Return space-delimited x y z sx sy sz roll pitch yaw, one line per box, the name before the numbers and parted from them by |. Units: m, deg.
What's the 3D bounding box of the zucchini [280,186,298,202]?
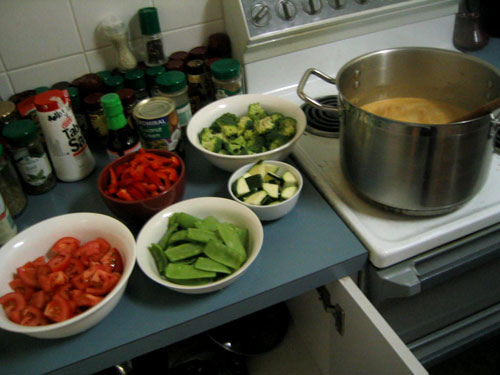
zucchini | 0.097 0.018 1.010 0.036 0.011 0.040 19 64 23

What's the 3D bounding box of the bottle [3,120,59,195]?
bottle | -0.597 -0.070 1.090 0.089 0.210 0.079 -28 37 -27

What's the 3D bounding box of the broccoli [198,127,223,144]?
broccoli | -0.111 -0.150 1.143 0.050 0.016 0.055 -6 50 -8

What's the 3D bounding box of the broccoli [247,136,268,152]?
broccoli | 0.019 -0.122 1.164 0.044 0.014 0.053 -1 56 5

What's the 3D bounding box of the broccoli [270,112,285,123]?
broccoli | 0.080 -0.206 1.167 0.035 0.021 0.027 -15 28 -30

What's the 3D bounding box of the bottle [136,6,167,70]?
bottle | -0.319 -0.478 1.292 0.088 0.172 0.146 -14 34 -8

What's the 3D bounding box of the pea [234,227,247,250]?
pea | -0.027 0.121 0.936 0.037 0.013 0.039 -7 73 -40

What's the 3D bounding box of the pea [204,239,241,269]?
pea | -0.062 0.151 0.894 0.083 0.023 0.046 29 94 4

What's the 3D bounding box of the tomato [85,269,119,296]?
tomato | -0.327 0.208 0.872 0.054 0.019 0.051 31 66 12

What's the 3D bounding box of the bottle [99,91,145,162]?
bottle | -0.358 -0.141 1.108 0.085 0.226 0.088 -1 39 1

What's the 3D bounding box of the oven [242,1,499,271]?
oven | 0.382 -0.144 1.335 0.680 0.544 0.869 -19 50 -15

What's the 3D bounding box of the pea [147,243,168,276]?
pea | -0.215 0.170 0.916 0.032 0.083 0.024 14 35 37

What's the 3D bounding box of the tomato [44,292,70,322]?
tomato | -0.402 0.255 0.843 0.053 0.032 0.048 7 37 23

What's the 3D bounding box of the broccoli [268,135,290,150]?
broccoli | 0.078 -0.125 1.112 0.044 0.014 0.035 -47 5 9

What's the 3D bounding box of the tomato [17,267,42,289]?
tomato | -0.485 0.197 0.881 0.042 0.015 0.049 33 31 -4

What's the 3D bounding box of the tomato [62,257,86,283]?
tomato | -0.396 0.184 0.902 0.042 0.017 0.042 -32 62 -1

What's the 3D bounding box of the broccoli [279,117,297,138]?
broccoli | 0.114 -0.164 1.158 0.052 0.021 0.055 27 92 40

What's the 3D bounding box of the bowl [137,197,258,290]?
bowl | -0.114 0.132 0.931 0.278 0.109 0.222 -9 34 0

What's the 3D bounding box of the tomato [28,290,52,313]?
tomato | -0.448 0.242 0.862 0.044 0.019 0.042 36 57 9

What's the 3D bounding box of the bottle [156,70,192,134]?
bottle | -0.221 -0.244 1.212 0.080 0.182 0.063 -8 33 2

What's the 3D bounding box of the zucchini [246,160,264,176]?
zucchini | 0.017 -0.050 1.049 0.033 0.012 0.036 38 92 13

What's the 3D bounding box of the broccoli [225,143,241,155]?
broccoli | -0.053 -0.111 1.137 0.028 0.016 0.034 0 35 -12

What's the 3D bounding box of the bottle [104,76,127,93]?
bottle | -0.413 -0.316 1.224 0.049 0.049 0.051 -6 41 8

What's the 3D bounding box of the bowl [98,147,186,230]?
bowl | -0.274 -0.015 1.021 0.195 0.119 0.210 -2 48 2

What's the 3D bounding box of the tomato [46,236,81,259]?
tomato | -0.436 0.136 0.933 0.047 0.021 0.054 -30 45 -19

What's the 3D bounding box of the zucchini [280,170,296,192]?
zucchini | 0.099 -0.018 1.031 0.040 0.011 0.040 -37 54 4

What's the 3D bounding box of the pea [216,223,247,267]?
pea | -0.041 0.116 0.933 0.079 0.078 0.090 -21 37 -34

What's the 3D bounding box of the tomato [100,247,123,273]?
tomato | -0.315 0.169 0.917 0.041 0.015 0.049 18 64 -8

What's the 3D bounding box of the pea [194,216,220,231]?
pea | -0.098 0.085 0.934 0.033 0.012 0.033 -5 45 -18

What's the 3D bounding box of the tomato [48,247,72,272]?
tomato | -0.428 0.163 0.904 0.030 0.012 0.043 10 54 34

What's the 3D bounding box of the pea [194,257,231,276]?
pea | -0.091 0.186 0.888 0.071 0.017 0.034 14 57 -3

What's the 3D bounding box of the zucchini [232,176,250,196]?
zucchini | -0.024 -0.003 1.019 0.042 0.012 0.045 -30 58 8

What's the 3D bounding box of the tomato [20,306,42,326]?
tomato | -0.454 0.268 0.832 0.033 0.012 0.036 8 20 17

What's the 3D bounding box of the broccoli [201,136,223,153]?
broccoli | -0.110 -0.119 1.123 0.049 0.013 0.048 0 82 -5

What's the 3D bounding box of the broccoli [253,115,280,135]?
broccoli | 0.046 -0.180 1.157 0.053 0.016 0.053 -28 70 -10

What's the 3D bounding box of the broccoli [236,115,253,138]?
broccoli | -0.017 -0.185 1.181 0.045 0.022 0.062 12 64 8

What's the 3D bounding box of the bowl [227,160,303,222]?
bowl | 0.051 0.022 1.025 0.166 0.085 0.173 -9 39 7

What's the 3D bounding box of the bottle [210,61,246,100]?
bottle | -0.072 -0.328 1.228 0.103 0.117 0.107 -9 49 1

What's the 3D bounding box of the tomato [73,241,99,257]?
tomato | -0.378 0.142 0.918 0.036 0.015 0.038 27 76 22

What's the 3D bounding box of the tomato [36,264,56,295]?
tomato | -0.444 0.202 0.870 0.043 0.016 0.063 4 65 -23

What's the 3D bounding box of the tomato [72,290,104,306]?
tomato | -0.353 0.239 0.856 0.038 0.012 0.038 -35 61 -17
